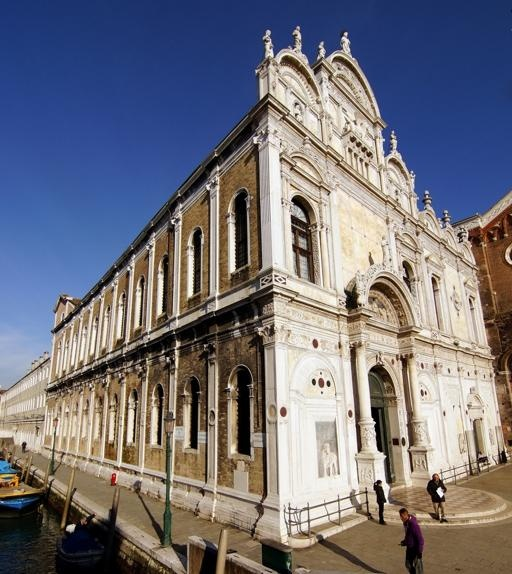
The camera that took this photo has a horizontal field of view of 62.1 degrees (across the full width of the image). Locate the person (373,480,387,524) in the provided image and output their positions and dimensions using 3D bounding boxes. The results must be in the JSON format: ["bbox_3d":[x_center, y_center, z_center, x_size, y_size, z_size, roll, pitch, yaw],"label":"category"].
[{"bbox_3d":[3.642,6.265,12.388,0.249,1.137,0.988,-6,-23,13],"label":"person"}]

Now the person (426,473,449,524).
[{"bbox_3d":[5.277,6.117,12.284,0.488,1.288,1.461,-9,-24,19],"label":"person"}]

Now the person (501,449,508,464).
[{"bbox_3d":[15.530,10.591,26.484,0.267,0.759,1.385,-15,-26,31],"label":"person"}]
